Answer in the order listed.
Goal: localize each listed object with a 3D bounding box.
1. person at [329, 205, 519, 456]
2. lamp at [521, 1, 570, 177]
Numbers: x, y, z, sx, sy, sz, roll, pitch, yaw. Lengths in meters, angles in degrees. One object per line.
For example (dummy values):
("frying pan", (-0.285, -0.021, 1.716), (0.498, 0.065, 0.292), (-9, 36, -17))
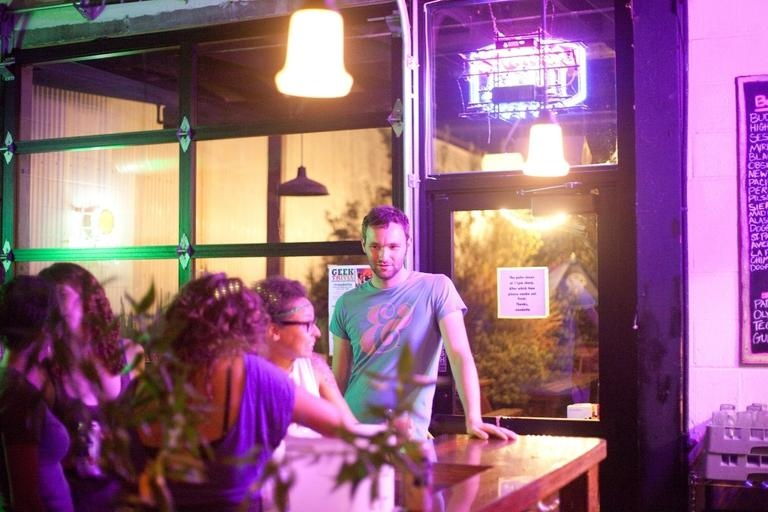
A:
("person", (0.119, 0.355, 4.764), (0.792, 1.271, 1.365), (0, 1, -13))
("lamp", (1.034, -1.081, 5.190), (0.276, 1.175, 0.620), (0, 1, 12))
